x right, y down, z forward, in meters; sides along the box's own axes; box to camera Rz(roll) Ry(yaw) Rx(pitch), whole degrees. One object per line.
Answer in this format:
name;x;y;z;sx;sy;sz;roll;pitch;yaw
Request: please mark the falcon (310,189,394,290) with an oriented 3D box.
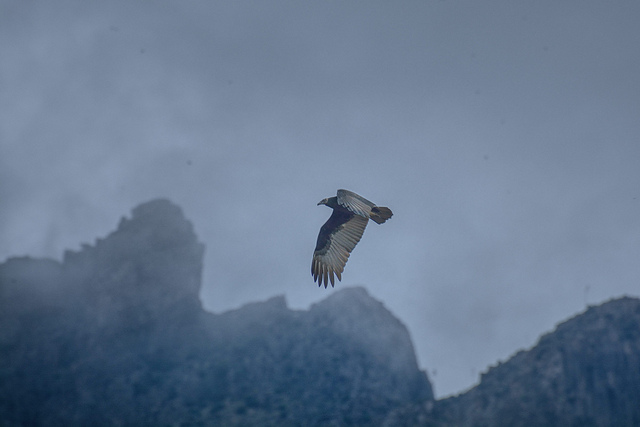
falcon;0.775;0.768;49.851;3.315;1.956;6.422;-11;-46;-20
